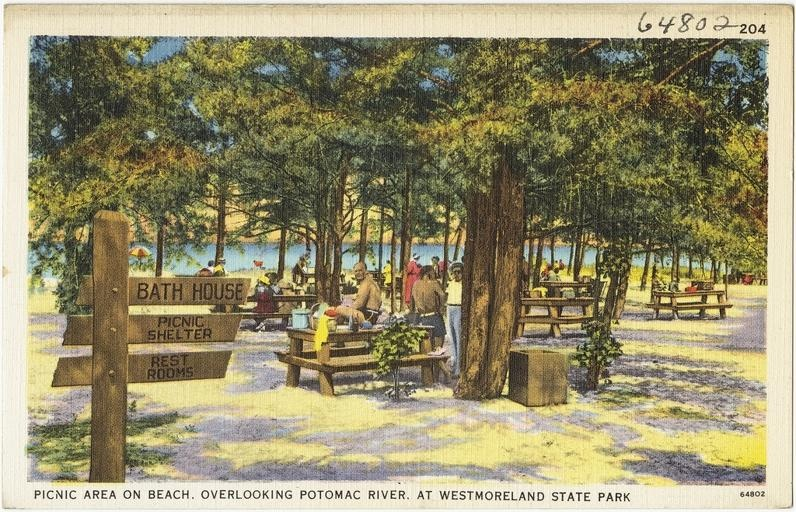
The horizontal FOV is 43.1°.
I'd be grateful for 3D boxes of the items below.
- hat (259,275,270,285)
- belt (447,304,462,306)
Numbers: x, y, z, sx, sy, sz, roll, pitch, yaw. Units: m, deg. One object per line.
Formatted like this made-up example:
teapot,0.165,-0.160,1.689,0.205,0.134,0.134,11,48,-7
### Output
hat,-2.350,0.420,17.843,0.137,0.050,0.146,14,3,29
belt,1.011,0.845,17.767,0.268,0.047,0.054,0,-3,27
